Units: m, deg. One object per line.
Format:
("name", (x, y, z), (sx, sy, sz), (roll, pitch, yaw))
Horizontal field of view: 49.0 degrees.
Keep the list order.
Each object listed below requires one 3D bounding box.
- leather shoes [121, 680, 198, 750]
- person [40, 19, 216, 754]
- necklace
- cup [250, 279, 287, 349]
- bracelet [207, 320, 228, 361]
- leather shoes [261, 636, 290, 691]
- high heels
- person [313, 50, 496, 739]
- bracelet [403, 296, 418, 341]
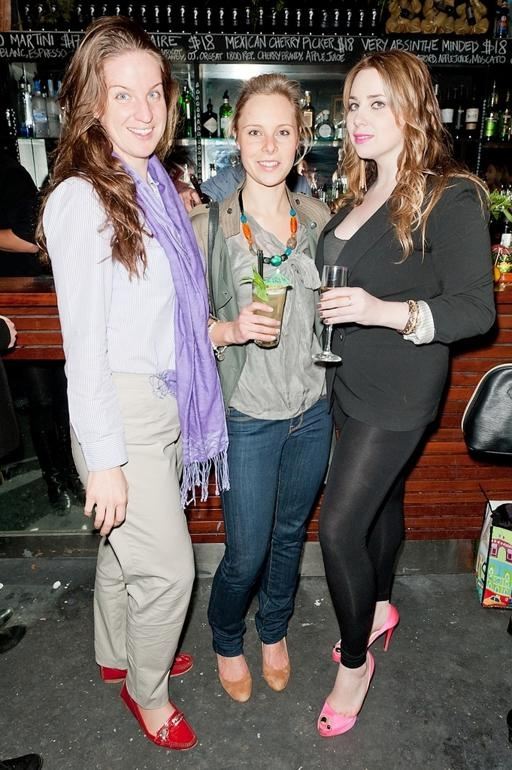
("leather shoes", (-0.290, 0.945, 1.620), (0.256, 0.068, 0.112), (44, 57, 12))
("person", (-0.277, 0.048, 1.355), (0.264, 1.676, 0.444), (11, 18, 38))
("necklace", (0.028, -0.410, 1.457), (0.155, 0.194, 0.252), (1, 15, 3))
("cup", (0.029, -0.202, 1.321), (0.080, 0.115, 0.110), (0, 14, -1))
("bracelet", (-0.104, -0.114, 1.450), (0.067, 0.091, 0.036), (6, 7, -2))
("leather shoes", (0.062, 0.901, 1.804), (0.058, 0.072, 0.174), (-3, 34, -1))
("high heels", (0.290, 0.892, 1.822), (0.149, 0.208, 0.497), (-1, 3, 32))
("person", (0.365, 0.078, 1.561), (0.409, 1.857, 0.464), (1, 14, 5))
("bracelet", (0.357, -0.153, 1.294), (0.022, 0.055, 0.062), (10, 69, 8))
